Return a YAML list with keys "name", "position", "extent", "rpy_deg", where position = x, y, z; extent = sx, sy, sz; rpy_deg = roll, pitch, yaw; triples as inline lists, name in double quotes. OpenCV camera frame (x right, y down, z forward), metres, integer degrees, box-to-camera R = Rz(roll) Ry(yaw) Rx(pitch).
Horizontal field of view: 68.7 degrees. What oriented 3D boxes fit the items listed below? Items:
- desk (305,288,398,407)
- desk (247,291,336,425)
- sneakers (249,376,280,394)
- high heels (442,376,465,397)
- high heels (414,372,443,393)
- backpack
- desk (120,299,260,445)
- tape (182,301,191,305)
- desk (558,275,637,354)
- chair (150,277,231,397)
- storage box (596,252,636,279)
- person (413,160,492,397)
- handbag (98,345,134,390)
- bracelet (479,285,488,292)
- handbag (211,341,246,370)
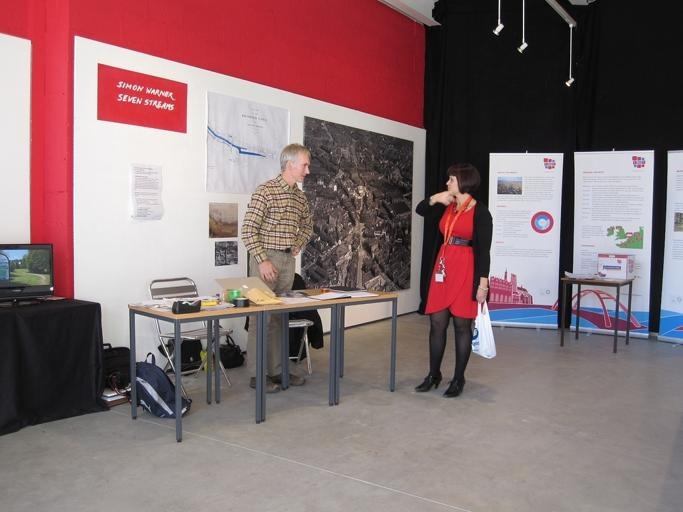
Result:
- name: "desk"
  position: [0.253, 0.832, 4.617]
  extent: [0.723, 0.731, 0.582]
  rpy_deg: [-1, -2, -2]
- name: "desk"
  position: [-0.614, 0.862, 4.411]
  extent: [1.016, 0.988, 0.936]
  rpy_deg: [-6, -6, 42]
- name: "sneakers"
  position: [-0.701, 1.191, 4.707]
  extent: [0.364, 0.165, 0.122]
  rpy_deg: [-4, -3, 44]
- name: "high heels"
  position: [1.064, 1.221, 4.643]
  extent: [0.098, 0.132, 0.290]
  rpy_deg: [-2, -4, 37]
- name: "high heels"
  position: [0.845, 1.218, 4.805]
  extent: [0.329, 0.187, 0.116]
  rpy_deg: [4, -3, -37]
- name: "backpack"
  position: [-1.459, 1.108, 4.019]
  extent: [0.322, 0.496, 0.189]
  rpy_deg: [-46, 7, -30]
- name: "desk"
  position: [-1.238, 0.686, 4.142]
  extent: [1.216, 1.294, 0.931]
  rpy_deg: [6, 8, 44]
- name: "tape"
  position: [-1.085, 0.334, 3.542]
  extent: [0.040, 0.030, 0.034]
  rpy_deg: [0, 5, -17]
- name: "desk"
  position: [3.465, 0.774, 6.778]
  extent: [0.737, 0.906, 0.771]
  rpy_deg: [1, 1, -43]
- name: "chair"
  position: [-1.450, 0.764, 4.860]
  extent: [0.769, 1.035, 0.785]
  rpy_deg: [0, 3, 6]
- name: "storage box"
  position: [3.721, 0.095, 6.777]
  extent: [0.358, 0.301, 0.356]
  rpy_deg: [3, 5, 30]
- name: "person"
  position: [1.040, 0.222, 4.583]
  extent: [0.657, 2.132, 0.369]
  rpy_deg: [3, 5, 26]
- name: "handbag"
  position: [-1.917, 0.974, 4.284]
  extent: [0.232, 0.380, 0.397]
  rpy_deg: [-8, -10, 44]
- name: "bracelet"
  position: [1.246, 0.277, 4.361]
  extent: [0.072, 0.032, 0.037]
  rpy_deg: [0, 5, -12]
- name: "handbag"
  position: [-1.164, 1.072, 5.348]
  extent: [0.194, 0.393, 0.377]
  rpy_deg: [-3, -5, 38]
